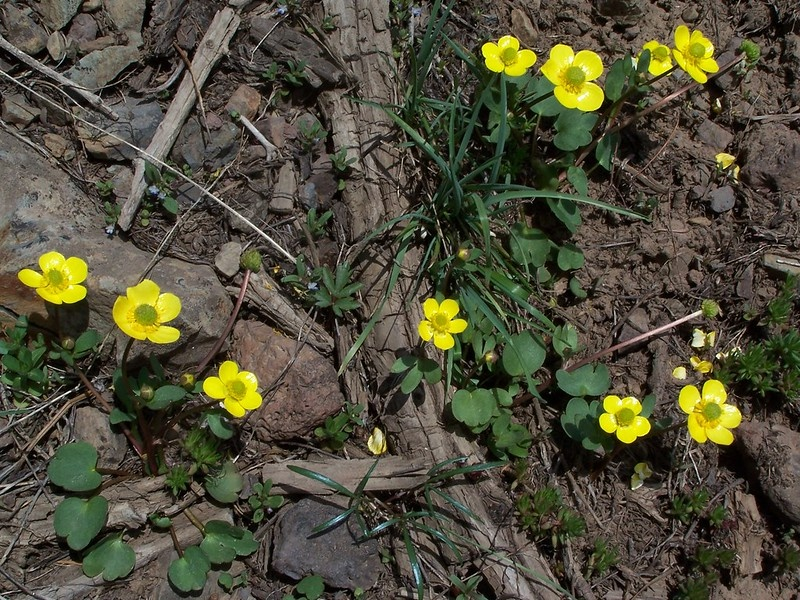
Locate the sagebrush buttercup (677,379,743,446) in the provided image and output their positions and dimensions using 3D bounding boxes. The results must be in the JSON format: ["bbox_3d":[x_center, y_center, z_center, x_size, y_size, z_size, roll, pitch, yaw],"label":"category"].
[{"bbox_3d":[1.893,0.671,3.923,0.383,0.141,0.382,16,59,36],"label":"sagebrush buttercup"}]

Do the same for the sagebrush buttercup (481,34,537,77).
[{"bbox_3d":[0.691,-1.588,4.235,0.319,0.139,0.315,-30,89,-20],"label":"sagebrush buttercup"}]

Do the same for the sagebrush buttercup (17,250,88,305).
[{"bbox_3d":[-2.108,-0.123,3.918,0.361,0.392,0.139,-22,88,-7],"label":"sagebrush buttercup"}]

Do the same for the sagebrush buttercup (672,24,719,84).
[{"bbox_3d":[1.948,-1.624,4.250,0.300,0.138,0.384,15,61,-5],"label":"sagebrush buttercup"}]

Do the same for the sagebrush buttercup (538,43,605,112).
[{"bbox_3d":[1.165,-1.510,4.291,0.420,0.420,0.169,27,75,-1],"label":"sagebrush buttercup"}]

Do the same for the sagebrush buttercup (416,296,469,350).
[{"bbox_3d":[0.242,0.142,3.908,0.301,0.122,0.280,-42,50,-18],"label":"sagebrush buttercup"}]

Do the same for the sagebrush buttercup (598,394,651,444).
[{"bbox_3d":[1.409,0.750,4.029,0.301,0.110,0.310,31,41,33],"label":"sagebrush buttercup"}]

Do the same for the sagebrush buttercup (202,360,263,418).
[{"bbox_3d":[-1.005,0.572,3.842,0.339,0.353,0.135,-28,78,-30],"label":"sagebrush buttercup"}]

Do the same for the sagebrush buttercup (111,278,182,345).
[{"bbox_3d":[-1.480,0.087,3.755,0.350,0.176,0.422,25,42,-19],"label":"sagebrush buttercup"}]
